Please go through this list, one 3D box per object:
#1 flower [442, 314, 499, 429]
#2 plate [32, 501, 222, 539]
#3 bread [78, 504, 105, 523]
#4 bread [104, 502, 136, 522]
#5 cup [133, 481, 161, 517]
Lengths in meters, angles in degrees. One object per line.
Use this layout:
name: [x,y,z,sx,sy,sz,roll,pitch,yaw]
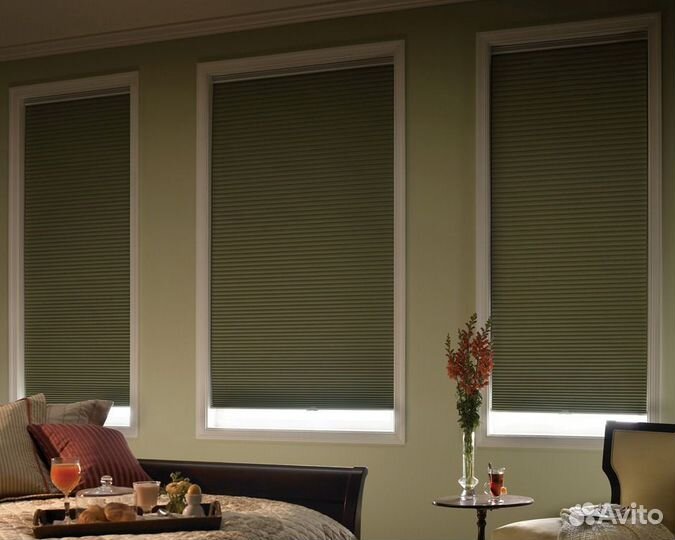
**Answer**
flower: [0.732,0.576,3.831,0.285,0.698,0.670,-2,-7,10]
plate: [-0.808,0.953,2.614,0.695,0.070,0.303,1,-7,-13]
bread: [-0.931,0.907,2.565,0.057,0.028,0.074,1,6,3]
bread: [-0.826,0.899,2.546,0.073,0.022,0.074,7,17,-37]
cup: [-0.762,0.894,2.673,0.115,0.125,0.115,-1,-7,0]
